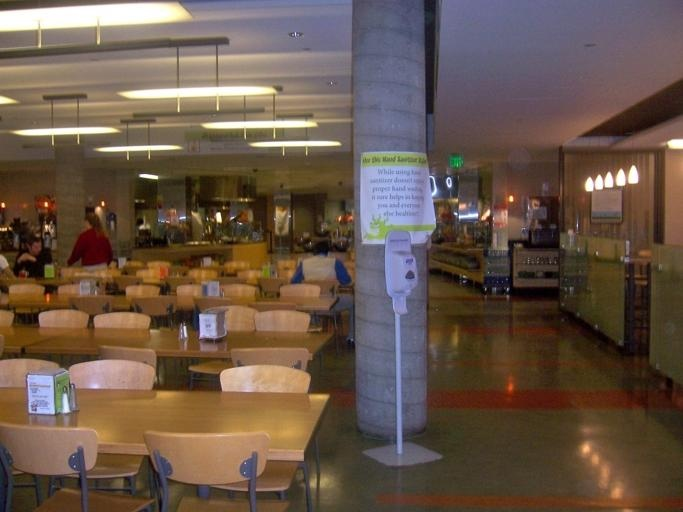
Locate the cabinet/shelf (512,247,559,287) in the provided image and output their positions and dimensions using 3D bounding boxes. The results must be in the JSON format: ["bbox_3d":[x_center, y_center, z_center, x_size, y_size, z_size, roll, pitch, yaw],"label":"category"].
[{"bbox_3d":[4.135,0.275,15.144,1.103,1.047,0.726,0,-4,4],"label":"cabinet/shelf"}]

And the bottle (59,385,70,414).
[{"bbox_3d":[-1.935,1.019,4.927,0.064,0.173,0.078,-4,8,-22],"label":"bottle"}]

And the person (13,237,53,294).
[{"bbox_3d":[-5.071,0.121,11.543,0.561,1.028,0.507,3,11,-10],"label":"person"}]
